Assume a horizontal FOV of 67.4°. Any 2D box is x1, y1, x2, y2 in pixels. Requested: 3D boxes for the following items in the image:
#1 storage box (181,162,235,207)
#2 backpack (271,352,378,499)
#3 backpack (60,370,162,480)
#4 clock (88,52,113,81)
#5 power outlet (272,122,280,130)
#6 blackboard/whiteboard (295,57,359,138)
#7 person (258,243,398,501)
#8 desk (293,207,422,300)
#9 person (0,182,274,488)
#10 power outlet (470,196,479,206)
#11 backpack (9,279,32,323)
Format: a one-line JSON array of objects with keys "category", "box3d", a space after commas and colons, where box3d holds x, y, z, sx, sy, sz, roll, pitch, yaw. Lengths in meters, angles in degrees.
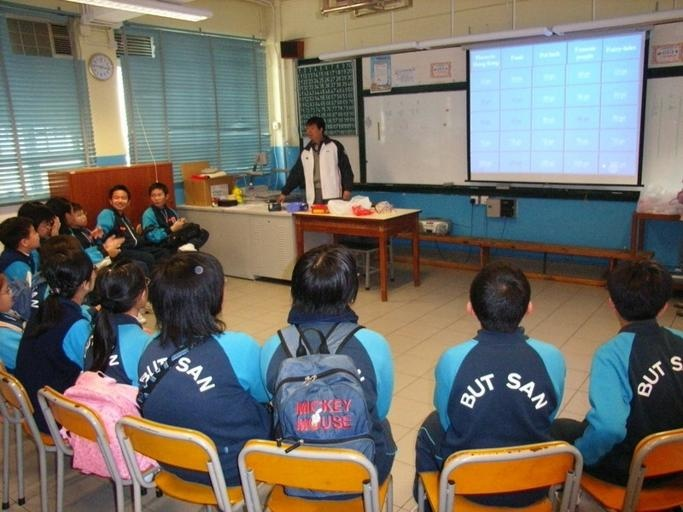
[{"category": "storage box", "box3d": [-1.743, -0.911, 6.618, 0.542, 0.756, 0.751, 4, 9, 24]}, {"category": "backpack", "box3d": [-0.058, 0.577, 1.966, 0.456, 0.654, 0.331, -5, 0, -2]}, {"category": "backpack", "box3d": [-0.993, 0.688, 2.256, 0.372, 0.511, 0.214, 7, 7, 17]}, {"category": "clock", "box3d": [-2.760, -2.170, 5.848, 0.050, 0.302, 0.304, 1, 15, 32]}, {"category": "power outlet", "box3d": [-1.002, -2.027, 7.965, 0.098, 0.103, 0.103, 4, 7, 26]}, {"category": "blackboard/whiteboard", "box3d": [-0.149, -2.237, 7.120, 1.307, 1.332, 0.108, 7, 14, 34]}, {"category": "person", "box3d": [-0.030, 0.433, 2.206, 0.582, 0.967, 0.937, 3, 15, 9]}, {"category": "desk", "box3d": [0.262, -0.351, 5.596, 1.288, 1.001, 0.994, 6, 13, 34]}, {"category": "person", "box3d": [-0.554, 0.341, 2.156, 0.631, 1.147, 0.831, 3, 10, 11]}, {"category": "power outlet", "box3d": [1.663, -0.684, 6.364, 0.085, 0.123, 0.121, -4, 4, -45]}, {"category": "backpack", "box3d": [-1.956, 0.281, 3.123, 0.142, 0.190, 0.075, 6, -30, -6]}]
